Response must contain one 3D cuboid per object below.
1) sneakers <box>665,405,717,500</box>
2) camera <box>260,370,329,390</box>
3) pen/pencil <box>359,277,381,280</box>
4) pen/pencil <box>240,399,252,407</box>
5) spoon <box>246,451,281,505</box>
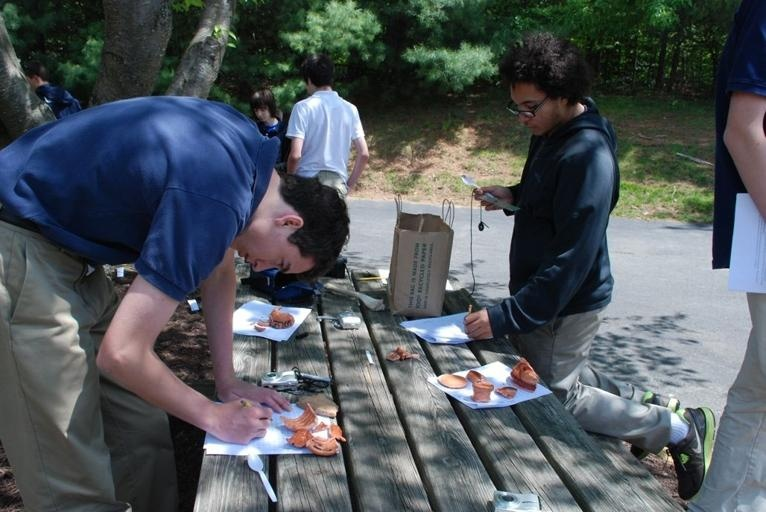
[{"bbox_3d":[1.758,1.098,3.404,0.259,0.624,0.207,1,-9,-7],"label":"sneakers"},{"bbox_3d":[-0.442,0.609,2.817,0.194,0.048,0.138,0,5,-8],"label":"camera"},{"bbox_3d":[-0.109,0.163,4.222,0.154,0.022,0.018,1,-4,-28],"label":"pen/pencil"},{"bbox_3d":[-0.616,0.655,2.559,0.026,0.014,0.037,21,-12,23],"label":"pen/pencil"},{"bbox_3d":[-0.498,0.872,2.289,0.060,0.033,0.266,-5,15,-21],"label":"spoon"}]
